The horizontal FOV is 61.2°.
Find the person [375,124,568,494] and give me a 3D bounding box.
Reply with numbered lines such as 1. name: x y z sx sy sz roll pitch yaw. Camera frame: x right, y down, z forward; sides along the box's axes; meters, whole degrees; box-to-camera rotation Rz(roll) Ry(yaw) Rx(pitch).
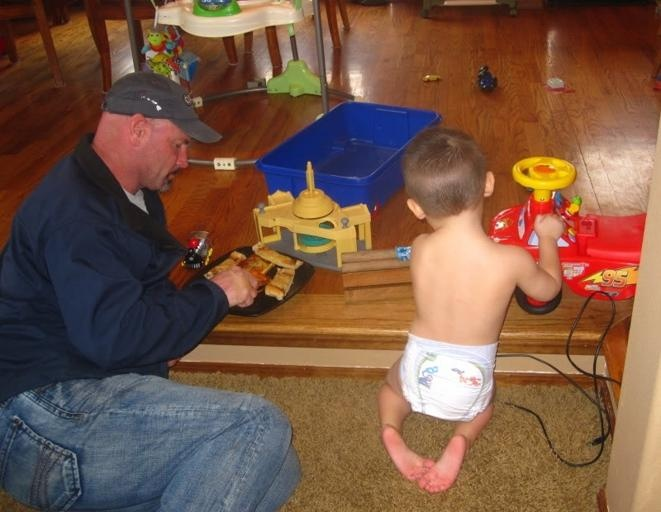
1. person: 0.363 0.128 1.429 0.434 0.582 0.840 4 48 15

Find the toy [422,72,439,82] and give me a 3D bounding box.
1. toy: 0.557 -1.002 3.124 0.081 0.026 0.053 7 46 25

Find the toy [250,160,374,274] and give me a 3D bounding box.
1. toy: -0.065 -0.158 1.746 0.363 0.313 0.209 15 39 22

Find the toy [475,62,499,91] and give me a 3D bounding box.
1. toy: 0.823 -0.928 2.953 0.105 0.167 0.063 -11 2 28

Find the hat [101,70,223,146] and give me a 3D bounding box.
1. hat: -0.424 -0.388 1.448 0.311 0.142 0.199 9 11 -7

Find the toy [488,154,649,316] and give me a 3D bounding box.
1. toy: 0.587 -0.067 1.581 0.542 0.340 0.294 0 39 8
